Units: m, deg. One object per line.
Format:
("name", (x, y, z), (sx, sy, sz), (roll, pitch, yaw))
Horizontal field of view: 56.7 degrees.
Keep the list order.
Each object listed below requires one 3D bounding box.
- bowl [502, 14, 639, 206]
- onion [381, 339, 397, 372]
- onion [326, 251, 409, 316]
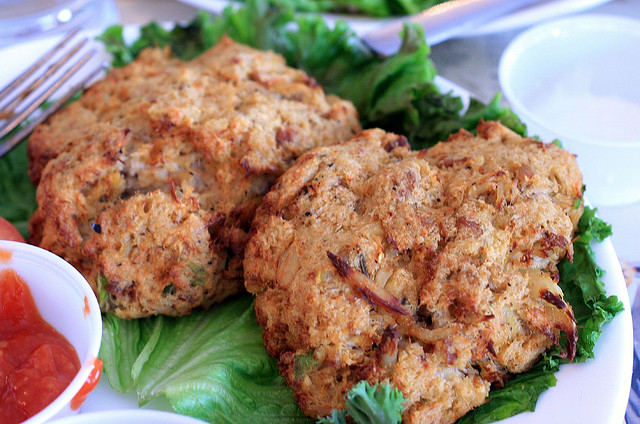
("bowl", (1.392, -0.551, 3.244), (0.719, 0.566, 0.805), (2, 42, 6))
("onion", (0.281, 0.562, 2.303), (0.071, 0.076, 0.061), (-17, 46, -27))
("onion", (0.181, 0.298, 2.350), (0.382, 0.122, 0.053), (25, 42, 16))
